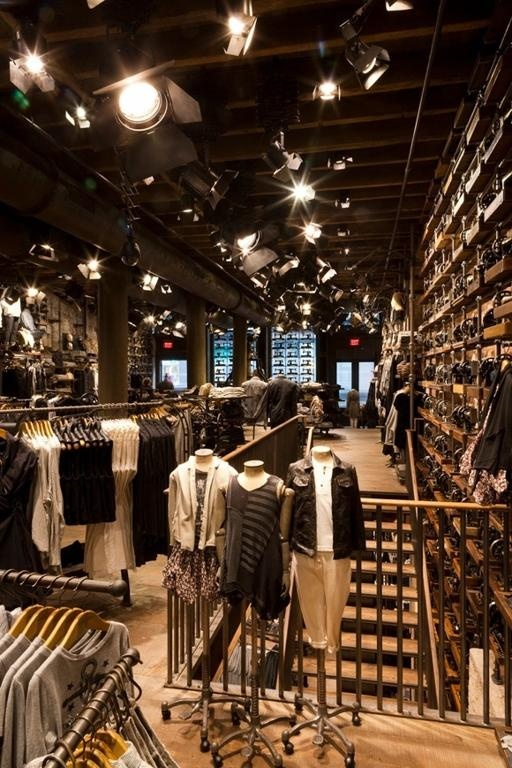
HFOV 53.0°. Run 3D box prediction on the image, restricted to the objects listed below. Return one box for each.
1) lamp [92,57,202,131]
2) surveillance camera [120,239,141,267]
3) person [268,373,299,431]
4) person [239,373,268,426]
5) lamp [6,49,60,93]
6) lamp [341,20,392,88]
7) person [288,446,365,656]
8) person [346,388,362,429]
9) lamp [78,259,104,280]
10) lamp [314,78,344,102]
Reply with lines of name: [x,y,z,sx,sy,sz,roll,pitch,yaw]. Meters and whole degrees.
lamp: [-0.548,-1.473,2.550,0.490,0.339,0.338,1,0,9]
surveillance camera: [-1.130,-1.196,4.557,0.140,0.262,0.306,1,0,-16]
person: [0.403,0.273,8.201,0.490,0.859,0.594,1,0,0]
person: [-0.020,0.232,8.742,0.490,1.175,0.259,5,42,4]
lamp: [-1.132,-1.564,2.625,0.155,0.167,0.227,-5,26,15]
lamp: [0.563,-1.695,2.629,0.220,0.310,0.403,1,0,15]
person: [0.317,0.791,2.373,0.359,0.931,0.282,1,0,3]
person: [3.143,0.798,16.633,0.379,1.224,0.756,1,0,7]
lamp: [-1.814,-1.261,5.580,0.218,0.234,0.383,1,0,-19]
lamp: [0.474,-1.943,3.387,0.192,0.138,0.182,1,0,1]
